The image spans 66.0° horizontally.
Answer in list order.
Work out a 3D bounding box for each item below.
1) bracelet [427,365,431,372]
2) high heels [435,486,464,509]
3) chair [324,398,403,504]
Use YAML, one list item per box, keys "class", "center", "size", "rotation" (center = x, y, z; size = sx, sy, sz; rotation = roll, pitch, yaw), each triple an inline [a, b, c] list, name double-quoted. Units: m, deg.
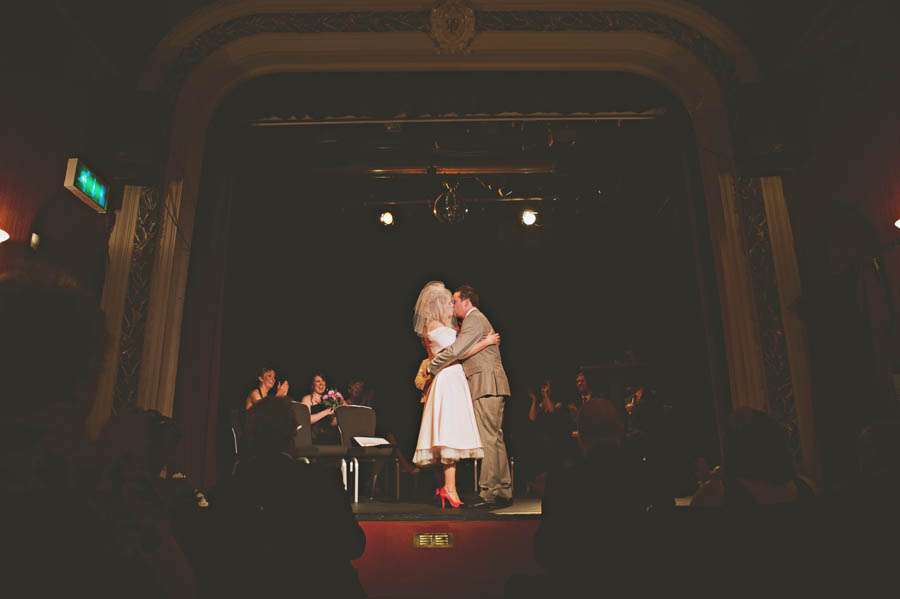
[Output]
- class: "bracelet"
  center: [-0.224, 0.745, 7.302]
  size: [0.014, 0.054, 0.037]
  rotation: [-1, -10, -16]
- class: "high heels"
  center: [-0.032, 2.028, 7.003]
  size: [0.154, 0.119, 0.371]
  rotation: [-12, 6, -31]
- class: "chair"
  center: [-0.921, 1.665, 7.601]
  size: [0.523, 0.984, 0.567]
  rotation: [4, -8, -35]
